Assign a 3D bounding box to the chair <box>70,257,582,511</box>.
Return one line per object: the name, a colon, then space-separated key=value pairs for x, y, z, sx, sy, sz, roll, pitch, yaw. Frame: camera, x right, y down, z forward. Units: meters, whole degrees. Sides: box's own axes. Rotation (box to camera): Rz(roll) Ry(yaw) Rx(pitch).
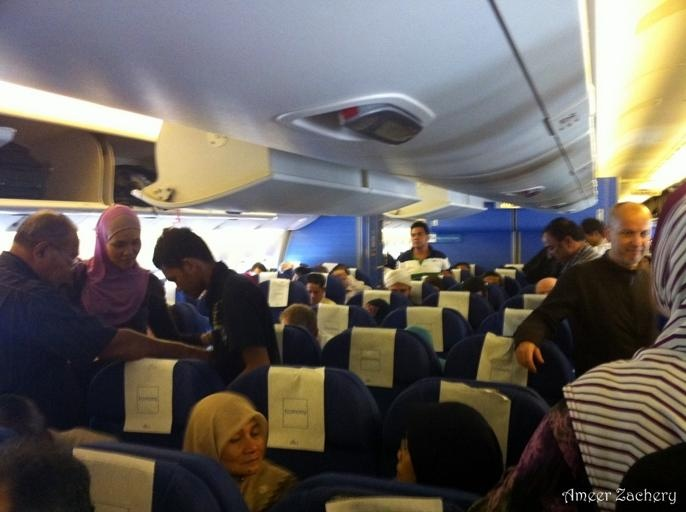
chair: x=0.031 y=0.476 z=2.232 sx=1.213 sy=0.749 sz=0.854 roll=8 pitch=-13 yaw=7
